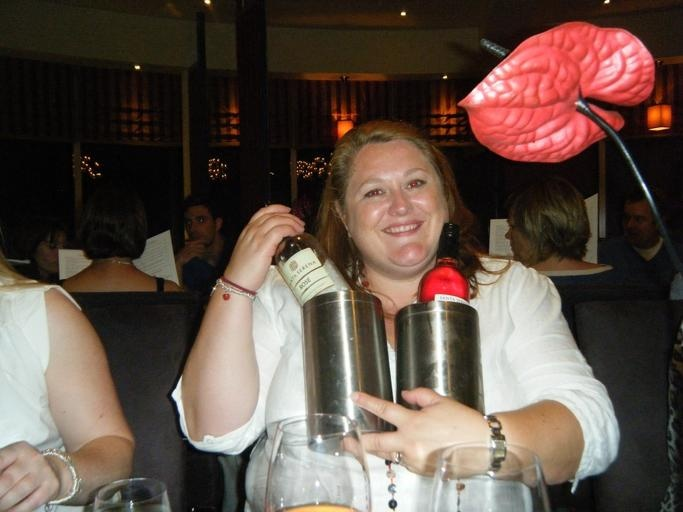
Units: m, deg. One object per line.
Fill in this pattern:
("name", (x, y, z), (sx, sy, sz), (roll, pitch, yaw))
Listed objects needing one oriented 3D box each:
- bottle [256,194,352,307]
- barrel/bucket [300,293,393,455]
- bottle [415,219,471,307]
("bottle", (-0.070, 0.028, 1.495), (0.188, 0.171, 0.432), (0, 1, -5))
("barrel/bucket", (0.019, 0.251, 1.325), (0.167, 0.292, 0.180), (-3, -32, -2))
("bottle", (0.229, 0.016, 1.332), (0.112, 0.183, 0.238), (0, 1, 9))
